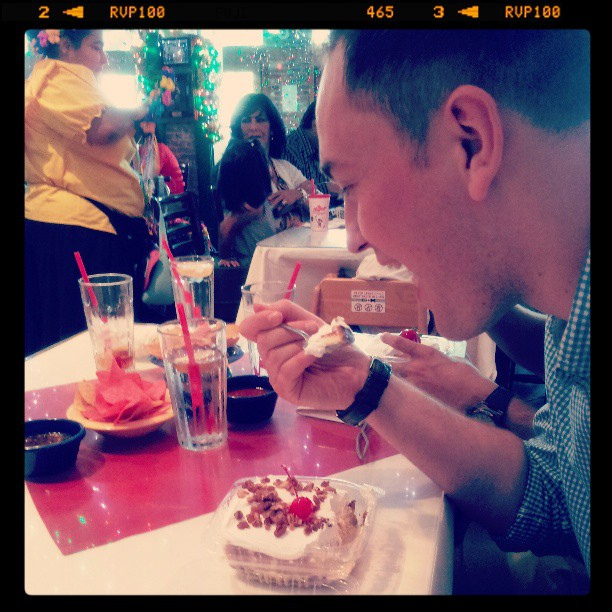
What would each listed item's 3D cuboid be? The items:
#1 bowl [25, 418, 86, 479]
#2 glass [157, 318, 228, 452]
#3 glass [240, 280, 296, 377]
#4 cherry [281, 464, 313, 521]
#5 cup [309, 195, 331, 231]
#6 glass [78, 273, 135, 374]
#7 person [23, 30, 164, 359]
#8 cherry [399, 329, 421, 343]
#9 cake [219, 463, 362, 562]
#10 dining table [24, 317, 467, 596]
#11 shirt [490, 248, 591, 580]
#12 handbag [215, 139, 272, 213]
[{"bbox_3d":[-0.368,0.199,0.842,0.085,0.064,0.147,-10,16,-24],"label":"bowl"},{"bbox_3d":[-0.183,0.109,0.925,0.092,0.240,0.084,-7,14,-29],"label":"glass"},{"bbox_3d":[-0.078,0.020,1.188,0.093,0.211,0.096,-6,15,-10],"label":"glass"},{"bbox_3d":[-0.006,0.240,0.688,0.028,0.023,0.026,-4,14,1],"label":"cherry"},{"bbox_3d":[0.061,-0.422,2.608,0.115,0.192,0.128,0,13,2],"label":"cup"},{"bbox_3d":[-0.386,0.025,1.140,0.094,0.249,0.111,-5,9,-30],"label":"glass"},{"bbox_3d":[-0.636,-0.340,1.704,0.316,1.145,0.456,-6,32,-15],"label":"person"},{"bbox_3d":[0.215,0.057,1.203,0.027,0.036,0.039,-3,8,0],"label":"cherry"},{"bbox_3d":[-0.022,0.228,0.686,0.099,0.045,0.097,7,16,26],"label":"cake"},{"bbox_3d":[-0.111,0.189,0.811,0.616,0.281,0.452,-1,14,12],"label":"dining table"},{"bbox_3d":[0.336,0.136,0.823,0.122,0.420,0.344,2,15,23],"label":"shirt"},{"bbox_3d":[-0.314,-0.678,3.022,0.223,0.363,0.344,-7,17,0],"label":"handbag"}]
